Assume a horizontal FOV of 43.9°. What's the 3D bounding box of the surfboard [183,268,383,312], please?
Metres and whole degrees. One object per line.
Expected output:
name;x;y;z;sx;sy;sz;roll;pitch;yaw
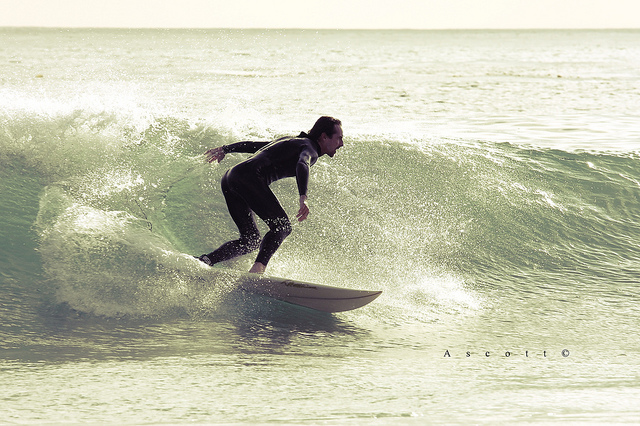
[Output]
surfboard;-0.617;1.101;11.164;2.340;0.280;0.219;9;29;13
